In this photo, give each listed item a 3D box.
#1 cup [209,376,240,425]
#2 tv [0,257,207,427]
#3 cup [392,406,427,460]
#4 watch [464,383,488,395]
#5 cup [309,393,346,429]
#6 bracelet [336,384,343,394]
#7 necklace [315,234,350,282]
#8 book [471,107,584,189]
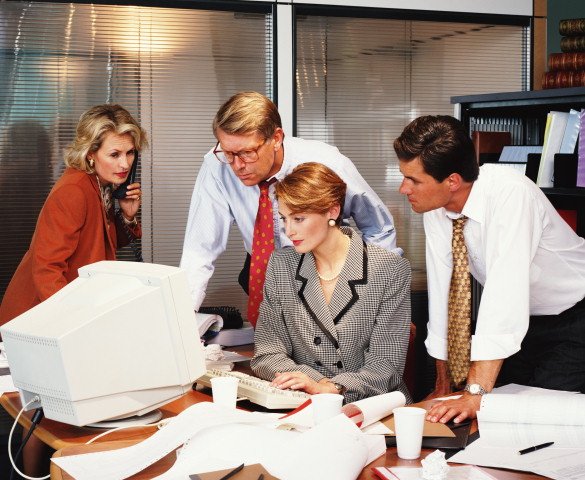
[{"bbox_3d":[-0.162,0.410,1.453,0.119,0.090,0.075,1,-7,0],"label":"cup"},{"bbox_3d":[-0.522,0.269,1.682,0.533,0.395,0.511,-21,9,-31],"label":"tv"},{"bbox_3d":[0.285,0.460,1.358,0.069,0.128,0.114,1,9,12],"label":"cup"},{"bbox_3d":[0.550,0.446,1.655,0.065,0.032,0.042,8,-19,-28],"label":"watch"},{"bbox_3d":[0.081,0.418,1.357,0.086,0.050,0.076,-1,-4,-4],"label":"cup"},{"bbox_3d":[0.149,0.479,1.783,0.021,0.024,0.027,38,-9,32],"label":"bracelet"},{"bbox_3d":[0.139,0.068,1.968,0.134,0.151,0.043,-12,-22,24],"label":"necklace"},{"bbox_3d":[1.175,-0.426,2.876,0.421,0.377,0.448,1,0,-15],"label":"book"}]
